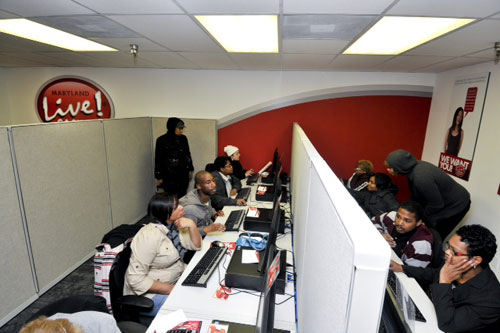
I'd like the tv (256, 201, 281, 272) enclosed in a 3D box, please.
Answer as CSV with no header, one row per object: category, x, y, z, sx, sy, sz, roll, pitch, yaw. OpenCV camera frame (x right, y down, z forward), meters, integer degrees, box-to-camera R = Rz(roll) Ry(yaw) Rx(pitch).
tv,0.182,0.718,3.124,0.153,0.420,0.592,18,23,5

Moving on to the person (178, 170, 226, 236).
person,-0.590,0.483,3.973,0.521,0.736,0.426,3,36,5

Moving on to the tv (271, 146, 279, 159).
tv,0.407,-0.219,4.923,0.093,0.127,0.281,6,53,7

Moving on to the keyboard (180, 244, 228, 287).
keyboard,-0.455,1.005,3.174,0.232,0.115,0.637,2,29,19

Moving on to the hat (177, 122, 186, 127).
hat,-1.151,-0.688,5.238,0.106,0.031,0.076,13,19,-23

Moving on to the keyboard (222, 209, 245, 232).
keyboard,-0.202,0.663,3.896,0.161,0.077,0.381,-19,18,18

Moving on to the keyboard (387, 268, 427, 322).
keyboard,1.158,0.999,2.369,0.142,0.042,0.438,-16,16,10

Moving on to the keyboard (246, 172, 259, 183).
keyboard,0.040,0.200,5.443,0.119,0.045,0.335,1,16,8

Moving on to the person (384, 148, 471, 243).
person,2.395,0.597,4.320,1.054,1.612,0.756,8,22,32

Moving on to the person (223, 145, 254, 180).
person,-0.246,-0.076,5.532,0.633,0.699,0.491,-2,23,4

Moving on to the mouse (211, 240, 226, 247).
mouse,-0.354,0.852,3.451,0.122,0.036,0.067,3,11,17

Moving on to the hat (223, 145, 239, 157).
hat,-0.331,-0.290,5.539,0.228,0.164,0.176,-25,0,16

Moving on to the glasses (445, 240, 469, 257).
glasses,1.849,0.736,2.794,0.133,0.040,0.116,6,8,8

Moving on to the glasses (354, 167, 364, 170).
glasses,1.712,0.037,4.917,0.015,0.052,0.112,-4,12,-34

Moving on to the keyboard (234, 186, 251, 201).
keyboard,-0.115,0.414,4.675,0.142,0.059,0.312,-16,21,22
